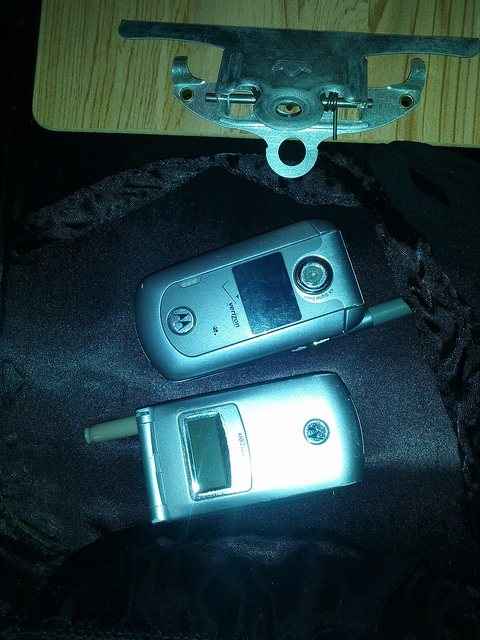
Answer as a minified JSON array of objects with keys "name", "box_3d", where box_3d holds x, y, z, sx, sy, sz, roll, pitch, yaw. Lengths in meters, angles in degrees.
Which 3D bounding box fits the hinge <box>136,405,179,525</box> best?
[{"name":"hinge","box_3d":[-0.088,0.143,0.606,0.025,0.115,0.018,-5,8,26]}]

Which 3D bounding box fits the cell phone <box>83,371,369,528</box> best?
[{"name":"cell phone","box_3d":[-0.009,0.123,0.576,0.240,0.118,0.057,-11,-12,4]}]

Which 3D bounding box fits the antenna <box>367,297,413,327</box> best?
[{"name":"antenna","box_3d":[0.154,-0.009,0.628,0.041,0.022,0.014,-20,-23,-9]}]

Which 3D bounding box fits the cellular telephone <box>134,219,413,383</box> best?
[{"name":"cellular telephone","box_3d":[0.031,-0.015,0.631,0.249,0.122,0.068,-17,-9,1]}]

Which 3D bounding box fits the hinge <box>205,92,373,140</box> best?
[{"name":"hinge","box_3d":[0.040,-0.216,0.581,0.169,0.044,0.103,5,39,14]}]
